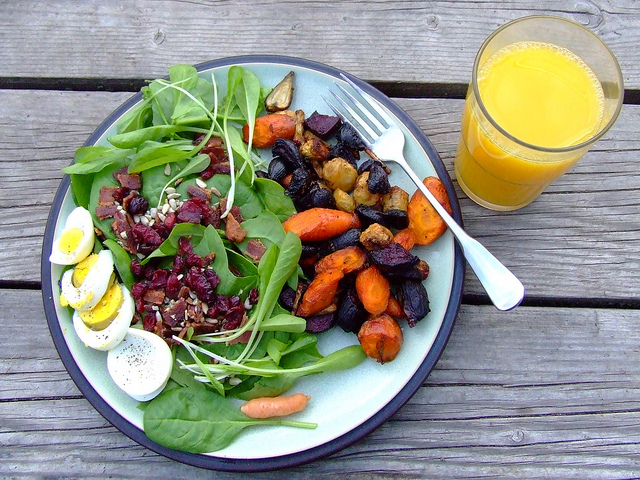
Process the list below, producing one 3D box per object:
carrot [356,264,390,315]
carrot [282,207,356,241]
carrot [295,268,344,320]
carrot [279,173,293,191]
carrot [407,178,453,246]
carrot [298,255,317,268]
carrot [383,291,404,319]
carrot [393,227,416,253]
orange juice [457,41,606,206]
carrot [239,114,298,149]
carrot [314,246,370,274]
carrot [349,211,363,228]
[{"bbox_3d":[0.167,0.156,1.985,0.101,0.045,0.149,-1,81,0],"label":"carrot"},{"bbox_3d":[-0.001,-0.061,2.086,0.268,0.095,0.132,-8,38,-26],"label":"carrot"},{"bbox_3d":[0.002,0.173,2.007,0.086,0.104,0.201,37,77,8],"label":"carrot"},{"bbox_3d":[-0.115,-0.201,2.131,0.049,0.027,0.049,25,89,-31],"label":"carrot"},{"bbox_3d":[0.351,-0.081,1.986,0.141,0.074,0.213,5,87,5],"label":"carrot"},{"bbox_3d":[-0.040,0.074,2.081,0.041,0.031,0.048,-12,23,14],"label":"carrot"},{"bbox_3d":[0.242,0.210,2.026,0.045,0.027,0.082,-12,91,-9],"label":"carrot"},{"bbox_3d":[0.276,0.001,2.039,0.060,0.022,0.074,5,72,0],"label":"carrot"},{"bbox_3d":[0.670,-0.396,2.081,0.409,0.381,0.462,36,77,8],"label":"orange juice"},{"bbox_3d":[-0.167,-0.381,2.111,0.218,0.100,0.117,-16,41,-12],"label":"carrot"},{"bbox_3d":[0.078,0.065,2.014,0.086,0.041,0.128,-14,29,-30],"label":"carrot"},{"bbox_3d":[0.123,-0.070,2.063,0.037,0.026,0.048,-2,83,-10],"label":"carrot"}]
